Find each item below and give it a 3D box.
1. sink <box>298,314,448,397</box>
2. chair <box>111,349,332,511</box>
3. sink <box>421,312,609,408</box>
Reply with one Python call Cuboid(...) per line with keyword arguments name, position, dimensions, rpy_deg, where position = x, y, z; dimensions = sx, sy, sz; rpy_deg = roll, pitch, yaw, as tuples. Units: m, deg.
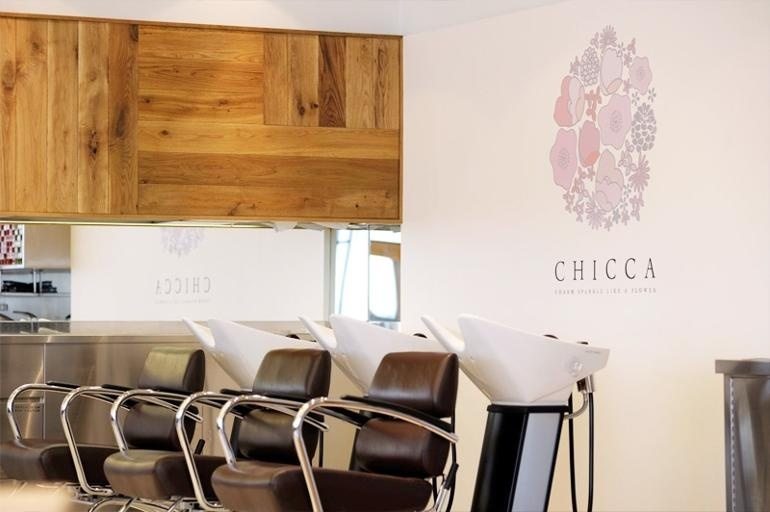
Cuboid(name="sink", position=(-0.157, 0.569, 4.522), dimensions=(0.560, 0.302, 0.663), rpy_deg=(18, -15, -39))
Cuboid(name="chair", position=(-0.827, 1.040, 4.389), dimensions=(1.254, 0.991, 0.918), rpy_deg=(12, -16, -37))
Cuboid(name="sink", position=(0.753, 0.624, 4.084), dimensions=(0.778, 0.297, 0.616), rpy_deg=(19, -20, 0))
